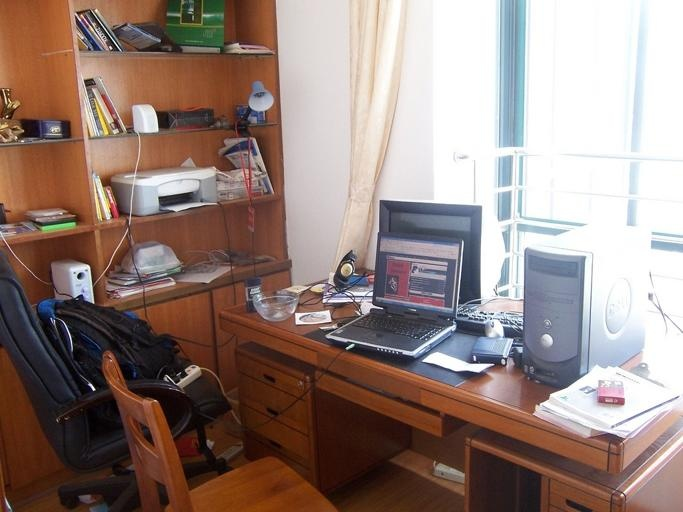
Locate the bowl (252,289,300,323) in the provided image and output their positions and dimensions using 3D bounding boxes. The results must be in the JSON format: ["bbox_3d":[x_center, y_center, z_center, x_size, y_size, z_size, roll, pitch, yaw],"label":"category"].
[{"bbox_3d":[-0.319,0.235,2.565,0.148,0.067,0.149,2,15,-1],"label":"bowl"}]

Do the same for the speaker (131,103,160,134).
[{"bbox_3d":[-1.132,-0.779,3.122,0.133,0.157,0.142,-8,19,-20],"label":"speaker"}]

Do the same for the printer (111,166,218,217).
[{"bbox_3d":[-1.054,-0.398,3.297,0.597,0.228,0.271,-13,21,-34],"label":"printer"}]

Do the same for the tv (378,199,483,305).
[{"bbox_3d":[0.394,-0.001,2.358,0.429,0.429,0.153,5,8,30],"label":"tv"}]

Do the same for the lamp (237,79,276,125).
[{"bbox_3d":[-0.507,-0.960,3.403,0.216,0.252,0.373,-6,13,-28],"label":"lamp"}]

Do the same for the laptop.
[{"bbox_3d":[0.233,0.152,2.259,0.446,0.401,0.405,9,21,30],"label":"laptop"}]

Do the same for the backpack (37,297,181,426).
[{"bbox_3d":[-1.145,0.412,2.562,0.635,0.220,0.493,26,17,14],"label":"backpack"}]

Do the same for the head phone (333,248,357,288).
[{"bbox_3d":[0.025,0.060,2.814,0.105,0.190,0.056,24,11,12],"label":"head phone"}]

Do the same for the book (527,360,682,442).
[{"bbox_3d":[0.860,0.455,1.701,0.323,0.046,0.216,-15,23,-33],"label":"book"}]

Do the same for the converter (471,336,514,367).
[{"bbox_3d":[0.576,0.362,2.090,0.132,0.054,0.159,7,20,25],"label":"converter"}]
